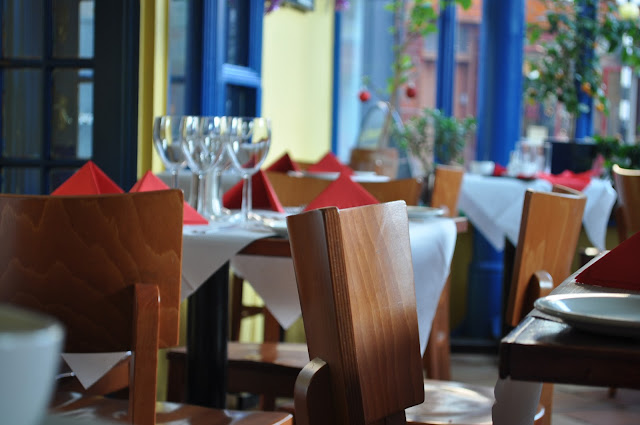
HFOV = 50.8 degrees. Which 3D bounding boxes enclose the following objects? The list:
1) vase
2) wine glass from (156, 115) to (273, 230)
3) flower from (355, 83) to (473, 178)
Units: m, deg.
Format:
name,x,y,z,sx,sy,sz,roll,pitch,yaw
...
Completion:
name,x,y,z,sx,sy,sz,roll,pitch,yaw
vase,1.270,-0.298,3.553,0.190,0.165,0.119,-7,14,-1
wine glass,-0.255,-0.053,1.688,0.254,0.304,0.244,0,0,6
flower,0.572,-0.388,3.672,0.371,0.380,0.330,-2,-8,38
